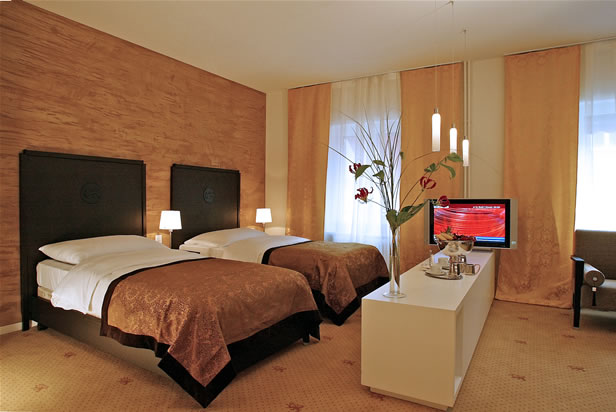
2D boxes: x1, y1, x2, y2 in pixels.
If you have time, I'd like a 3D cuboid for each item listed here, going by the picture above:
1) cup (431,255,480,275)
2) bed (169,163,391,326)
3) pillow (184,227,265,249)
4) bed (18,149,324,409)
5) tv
[{"bbox_3d":[1.541,0.661,4.382,0.383,0.132,0.277,-1,0,-36],"label":"cup"},{"bbox_3d":[-0.302,0.406,6.315,2.855,1.918,2.049,0,1,29],"label":"bed"},{"bbox_3d":[-1.197,0.457,6.259,0.446,0.149,0.734,-8,-3,42],"label":"pillow"},{"bbox_3d":[-1.619,0.541,5.166,3.392,2.261,2.215,1,3,30],"label":"bed"},{"bbox_3d":[2.288,0.242,5.755,1.137,0.695,0.169,-2,4,19],"label":"tv"}]
